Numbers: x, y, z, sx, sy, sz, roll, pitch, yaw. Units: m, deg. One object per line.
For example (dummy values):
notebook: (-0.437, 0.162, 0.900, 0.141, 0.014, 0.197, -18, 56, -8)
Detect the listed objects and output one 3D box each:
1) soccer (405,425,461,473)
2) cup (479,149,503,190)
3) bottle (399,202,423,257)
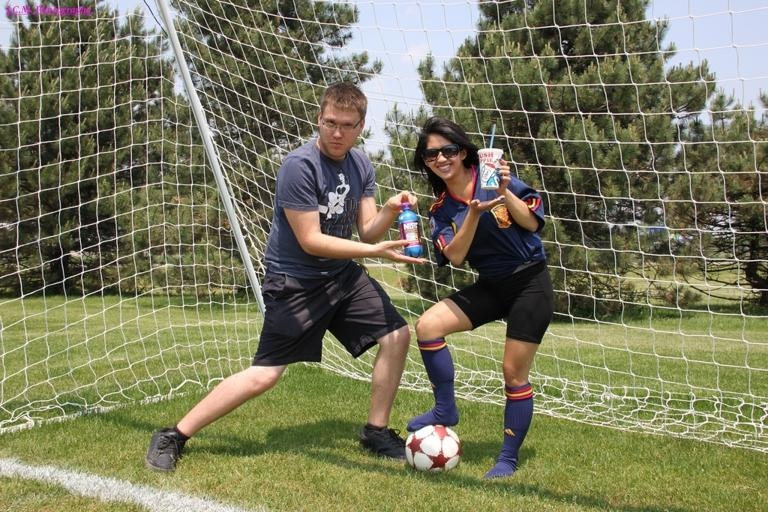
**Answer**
soccer: (0.449, 1.750, 5.881, 0.391, 0.322, 0.411, -4, -11, 17)
cup: (0.934, -0.780, 5.705, 0.289, 0.402, 0.301, 2, 5, 0)
bottle: (0.240, -0.249, 5.836, 0.205, 0.468, 0.306, 0, 7, -13)
